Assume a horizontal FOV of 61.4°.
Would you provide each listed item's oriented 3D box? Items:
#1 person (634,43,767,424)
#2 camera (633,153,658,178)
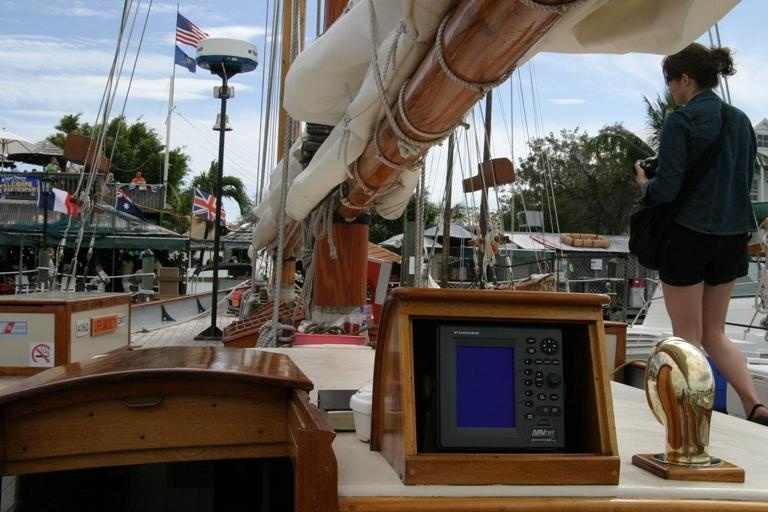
[{"bbox_3d":[1.448,-0.147,2.941,0.522,1.693,0.434,1,-2,19],"label":"person"},{"bbox_3d":[1.236,-0.408,3.027,0.076,0.111,0.105,-4,37,3],"label":"camera"}]
